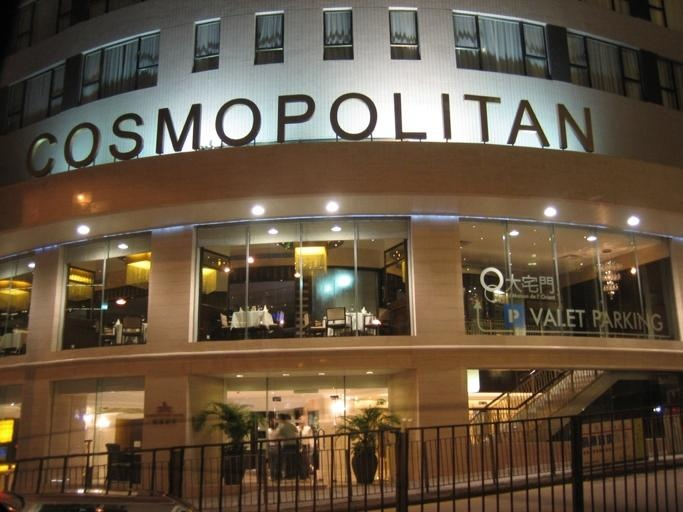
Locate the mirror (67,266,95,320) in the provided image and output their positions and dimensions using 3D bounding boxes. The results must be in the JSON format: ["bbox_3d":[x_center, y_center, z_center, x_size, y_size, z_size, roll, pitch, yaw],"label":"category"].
[{"bbox_3d":[-9.945,1.377,24.094,1.370,2.120,0.174,-7,-19,17],"label":"mirror"}]

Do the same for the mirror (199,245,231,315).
[{"bbox_3d":[-4.492,0.870,22.446,1.045,2.306,0.193,-2,-18,1],"label":"mirror"}]

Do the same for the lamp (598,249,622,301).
[{"bbox_3d":[10.098,0.673,23.906,1.011,1.841,0.236,7,-20,-24],"label":"lamp"}]

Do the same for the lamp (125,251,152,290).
[{"bbox_3d":[-7.435,0.569,23.320,0.998,1.095,0.777,-10,-20,28],"label":"lamp"}]
